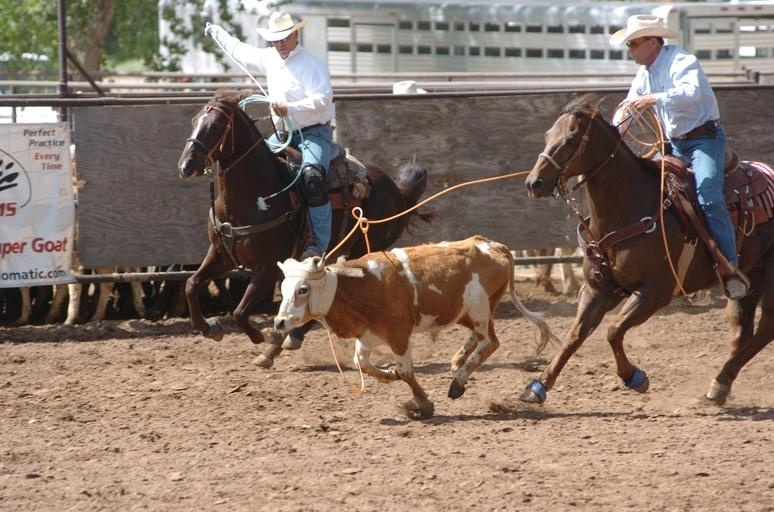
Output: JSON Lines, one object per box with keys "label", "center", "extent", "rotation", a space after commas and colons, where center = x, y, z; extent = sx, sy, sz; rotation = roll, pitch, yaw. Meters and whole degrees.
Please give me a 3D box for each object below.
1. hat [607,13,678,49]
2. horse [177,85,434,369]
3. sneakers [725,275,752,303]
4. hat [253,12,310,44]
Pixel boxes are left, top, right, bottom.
{"label": "hat", "center": [2.733, -2.292, 12.102], "extent": [0.831, 0.281, 0.642], "rotation": [0, -3, -12]}
{"label": "horse", "center": [-0.836, -0.365, 14.340], "extent": [1.316, 3.033, 5.396], "rotation": [9, 8, 32]}
{"label": "sneakers", "center": [3.595, 0.338, 12.019], "extent": [0.294, 0.235, 0.257], "rotation": [-3, -10, 2]}
{"label": "hat", "center": [-1.245, -2.612, 13.234], "extent": [0.487, 0.335, 0.467], "rotation": [-3, 15, -7]}
